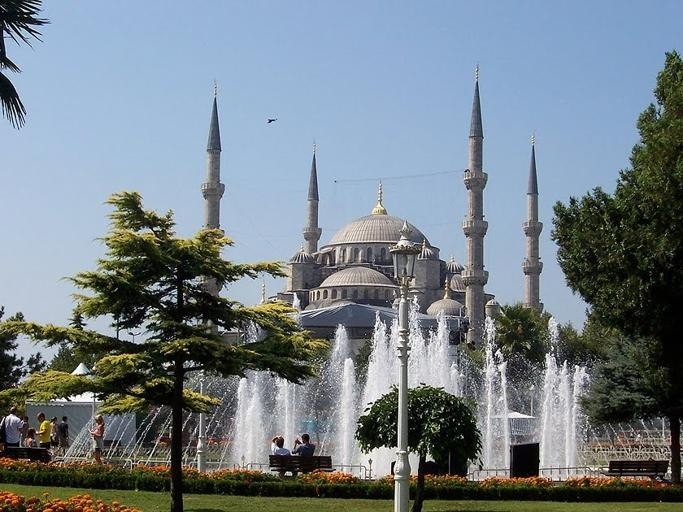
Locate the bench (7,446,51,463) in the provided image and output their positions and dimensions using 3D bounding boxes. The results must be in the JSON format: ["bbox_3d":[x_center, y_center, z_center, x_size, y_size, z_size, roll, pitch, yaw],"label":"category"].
[{"bbox_3d":[-8.161,5.118,38.375,1.357,0.522,0.405,-3,-25,16],"label":"bench"}]
